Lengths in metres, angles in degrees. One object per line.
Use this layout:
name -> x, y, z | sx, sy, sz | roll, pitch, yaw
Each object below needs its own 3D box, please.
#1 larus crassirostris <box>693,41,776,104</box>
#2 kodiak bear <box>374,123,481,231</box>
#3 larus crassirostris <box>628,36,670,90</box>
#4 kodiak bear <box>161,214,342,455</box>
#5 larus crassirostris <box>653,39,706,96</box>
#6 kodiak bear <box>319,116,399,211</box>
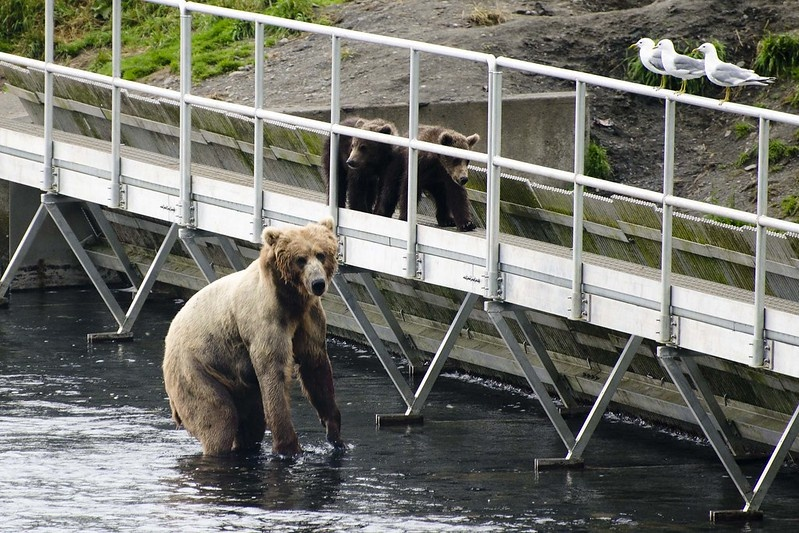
larus crassirostris -> 3.892, -2.217, 28.170 | 0.959, 0.671, 0.344 | 1, 5, 12
kodiak bear -> 0.406, -1.322, 31.550 | 0.750, 1.377, 2.190 | -3, 19, -23
larus crassirostris -> 3.150, -2.397, 28.841 | 0.710, 0.591, 0.344 | -1, 2, 17
kodiak bear -> -1.746, 0.859, 29.385 | 2.025, 2.760, 0.733 | 1, 11, 7
larus crassirostris -> 3.397, -2.318, 28.538 | 0.789, 0.548, 0.297 | 0, 6, -13
kodiak bear -> -0.182, -1.308, 31.708 | 0.671, 1.203, 1.612 | 11, 13, 31
